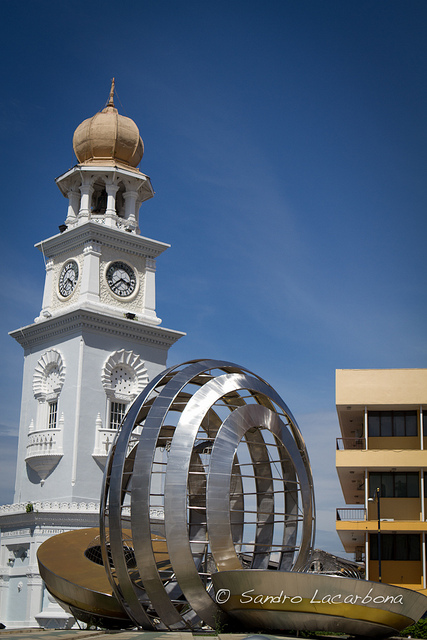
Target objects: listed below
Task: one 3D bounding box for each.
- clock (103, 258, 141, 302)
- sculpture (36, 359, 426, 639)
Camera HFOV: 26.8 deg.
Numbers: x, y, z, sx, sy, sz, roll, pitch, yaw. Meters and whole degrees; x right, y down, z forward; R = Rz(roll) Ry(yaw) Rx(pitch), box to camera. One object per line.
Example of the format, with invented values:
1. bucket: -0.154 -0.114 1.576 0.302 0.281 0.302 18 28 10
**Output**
1. clock: -5.515 -2.328 53.341 0.144 2.228 2.262 -19 11 25
2. sculpture: 0.449 5.253 25.820 7.260 7.184 14.632 9 -20 -27
